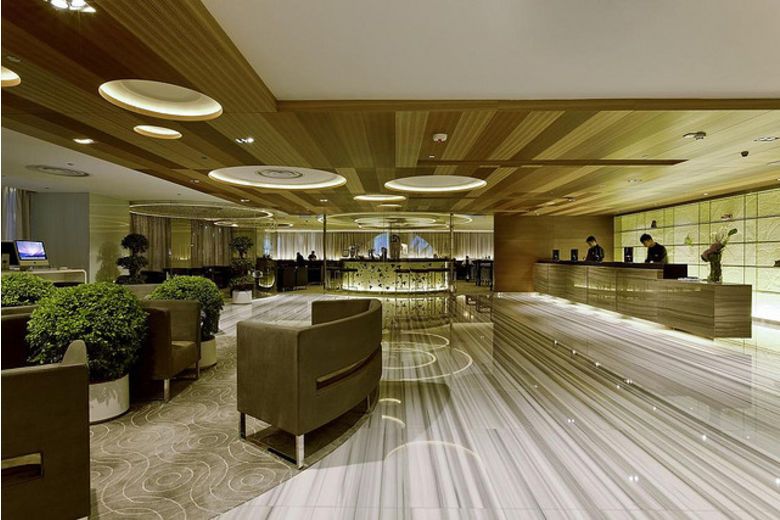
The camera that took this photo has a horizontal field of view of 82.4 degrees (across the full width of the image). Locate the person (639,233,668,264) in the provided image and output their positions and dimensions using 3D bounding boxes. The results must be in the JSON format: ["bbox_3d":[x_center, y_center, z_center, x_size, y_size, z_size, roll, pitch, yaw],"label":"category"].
[{"bbox_3d":[5.789,-0.246,9.787,0.441,0.605,1.433,2,5,30],"label":"person"}]

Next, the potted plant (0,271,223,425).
[{"bbox_3d":[-3.403,0.895,5.935,2.121,0.889,1.954,3,2,-13],"label":"potted plant"}]

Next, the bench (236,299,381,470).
[{"bbox_3d":[-0.881,1.335,5.792,1.382,1.285,2.191,1,5,19],"label":"bench"}]

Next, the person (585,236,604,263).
[{"bbox_3d":[5.397,-0.279,11.831,0.354,0.662,1.086,1,5,23],"label":"person"}]

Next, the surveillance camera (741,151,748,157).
[{"bbox_3d":[5.802,-1.726,7.309,0.083,0.034,0.100,1,-3,4],"label":"surveillance camera"}]

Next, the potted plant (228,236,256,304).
[{"bbox_3d":[-4.372,0.299,13.342,0.807,1.839,0.743,-2,6,-23],"label":"potted plant"}]

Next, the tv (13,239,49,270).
[{"bbox_3d":[-7.720,-0.098,9.551,0.387,0.506,0.761,-2,1,3],"label":"tv"}]
